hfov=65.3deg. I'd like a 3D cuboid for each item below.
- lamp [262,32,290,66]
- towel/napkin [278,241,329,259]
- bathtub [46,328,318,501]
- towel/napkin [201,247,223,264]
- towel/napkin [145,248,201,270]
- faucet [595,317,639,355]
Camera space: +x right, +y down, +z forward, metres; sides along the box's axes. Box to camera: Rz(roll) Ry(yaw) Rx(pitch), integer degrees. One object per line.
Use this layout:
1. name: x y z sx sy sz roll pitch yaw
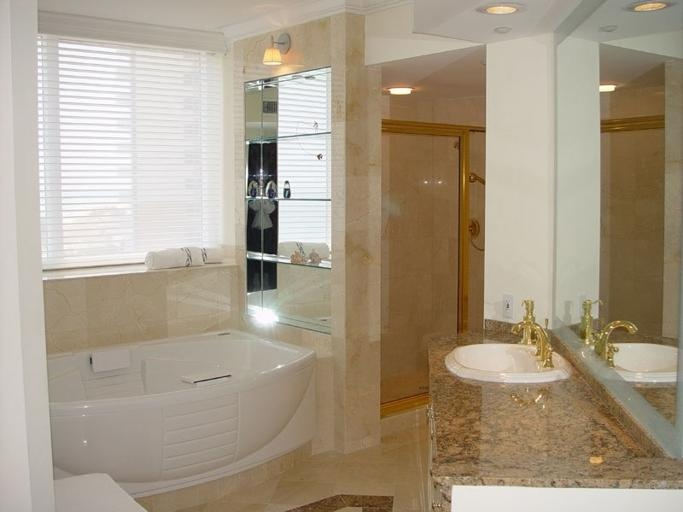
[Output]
1. lamp: -0.466 -1.516 3.879 0.157 0.232 0.148 -8 10 -41
2. towel/napkin: -0.277 -0.053 3.919 0.508 0.117 0.023 5 12 37
3. bathtub: -1.017 0.954 3.502 1.572 0.721 1.024 -9 12 -31
4. towel/napkin: -1.035 -0.005 4.312 0.064 0.149 0.235 3 12 31
5. towel/napkin: -1.267 0.017 4.089 0.271 0.101 0.197 -4 6 -32
6. faucet: 1.077 0.351 2.087 0.136 0.050 0.222 -3 41 30
